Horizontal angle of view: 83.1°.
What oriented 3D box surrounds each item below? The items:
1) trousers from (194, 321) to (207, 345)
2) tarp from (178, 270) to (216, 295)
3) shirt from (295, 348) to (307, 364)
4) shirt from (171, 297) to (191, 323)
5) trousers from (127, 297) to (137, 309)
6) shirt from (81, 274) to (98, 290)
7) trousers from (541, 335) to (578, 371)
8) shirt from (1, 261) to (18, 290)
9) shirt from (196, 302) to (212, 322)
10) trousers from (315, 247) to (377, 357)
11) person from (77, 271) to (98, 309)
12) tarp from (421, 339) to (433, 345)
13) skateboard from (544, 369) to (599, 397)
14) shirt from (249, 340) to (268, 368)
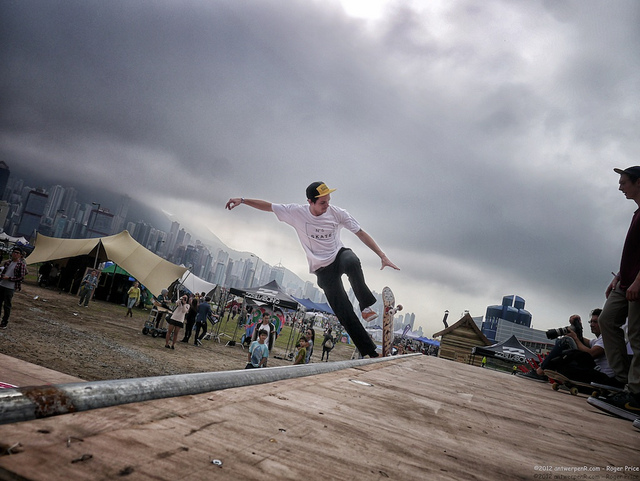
[{"bbox_3d":[-4.841,3.671,14.430,0.378,0.887,0.777,12,-11,-9],"label":"trousers"},{"bbox_3d":[-9.327,3.292,27.080,2.598,1.353,2.688,1,-1,1],"label":"tarp"},{"bbox_3d":[-0.492,3.064,9.574,0.220,0.409,0.489,11,-11,-2],"label":"shirt"},{"bbox_3d":[-4.539,2.233,11.670,0.428,0.801,0.416,15,-11,-21],"label":"shirt"},{"bbox_3d":[-9.295,3.030,17.716,0.348,0.410,0.645,16,-11,-23],"label":"trousers"},{"bbox_3d":[-10.912,1.972,17.011,0.815,0.853,0.470,4,-19,-38],"label":"shirt"},{"bbox_3d":[3.839,1.815,5.777,0.598,0.615,0.183,20,3,-30],"label":"trousers"},{"bbox_3d":[-7.558,0.835,8.773,0.274,0.668,0.110,17,-12,-31],"label":"shirt"},{"bbox_3d":[-4.560,2.795,14.038,0.522,0.351,1.081,25,-47,-13],"label":"shirt"},{"bbox_3d":[0.361,0.826,5.088,0.994,1.447,0.812,9,-10,11],"label":"trousers"},{"bbox_3d":[-10.961,2.256,16.964,0.538,1.417,1.202,17,-12,-31],"label":"person"},{"bbox_3d":[14.590,13.719,48.709,0.473,0.657,10.345,7,-12,21],"label":"tarp"},{"bbox_3d":[3.471,1.994,5.057,0.316,0.202,0.952,11,-11,-35],"label":"skateboard"},{"bbox_3d":[-1.370,2.551,8.071,0.424,0.540,0.427,14,-11,-14],"label":"shirt"}]
